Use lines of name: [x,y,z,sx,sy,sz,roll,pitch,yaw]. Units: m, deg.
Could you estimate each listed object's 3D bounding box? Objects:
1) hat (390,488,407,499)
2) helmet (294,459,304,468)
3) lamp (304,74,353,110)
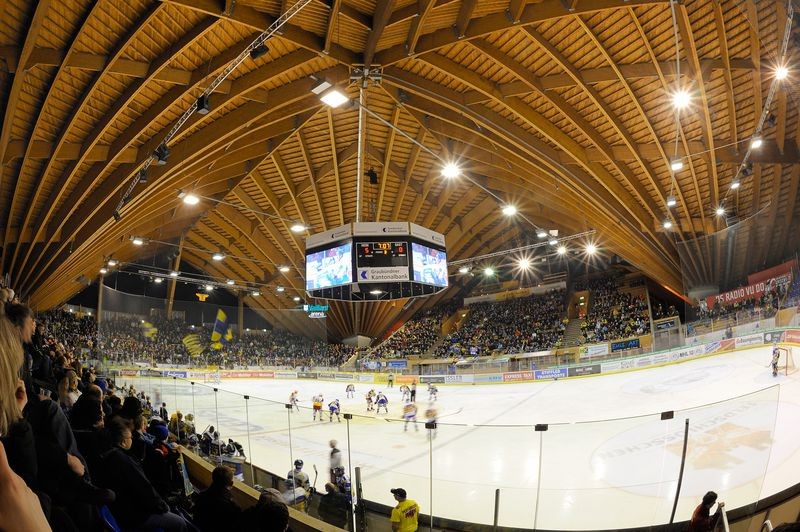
hat: [-0.054,6.600,15.967,0.415,0.305,0.412,-2,-12,-4]
helmet: [-3.307,6.387,17.827,0.250,0.289,0.316,7,-37,-5]
lamp: [-2.863,-7.031,21.896,1.339,0.886,0.712,3,-13,-27]
